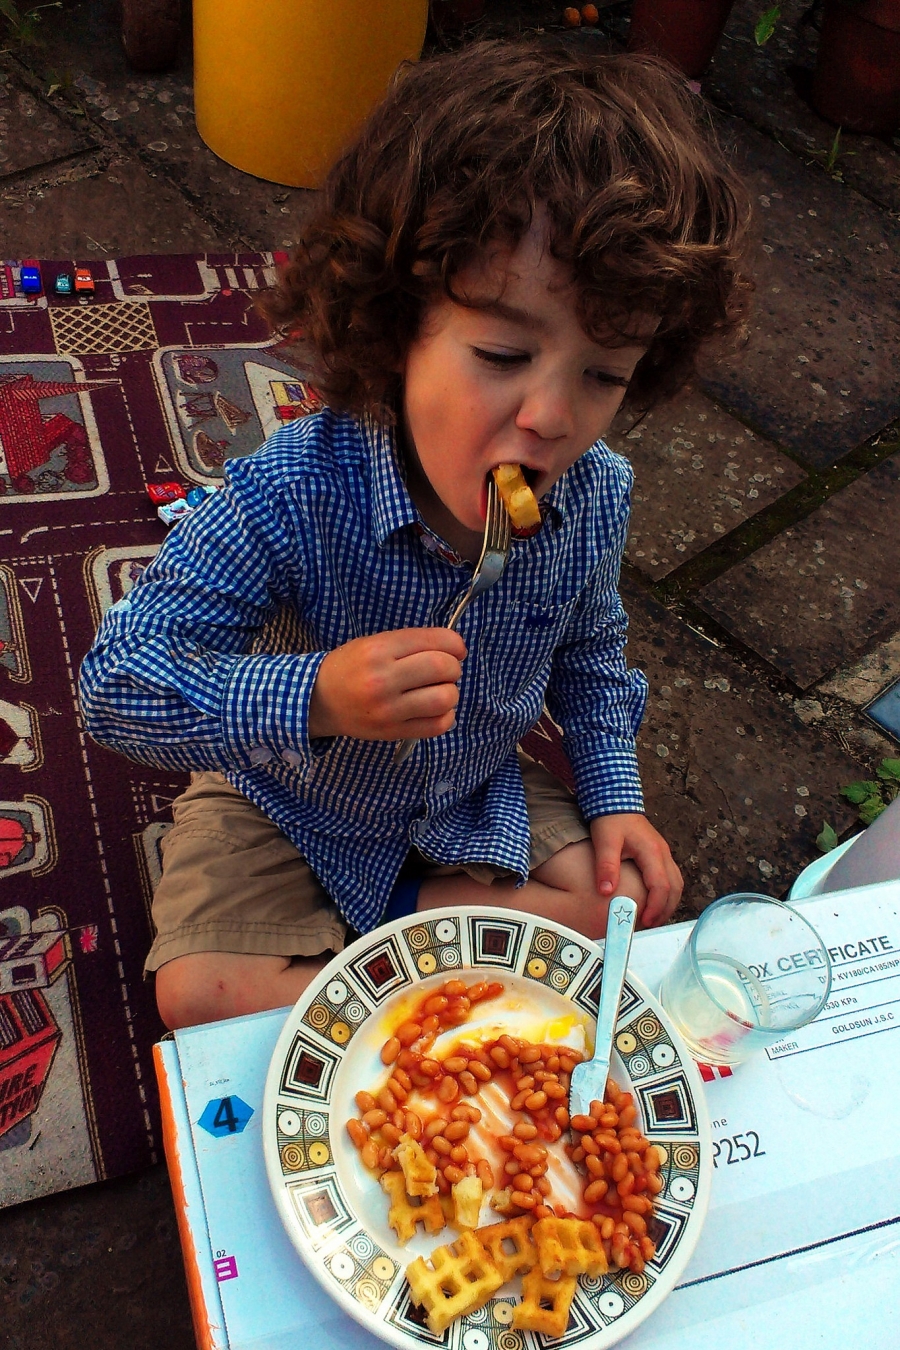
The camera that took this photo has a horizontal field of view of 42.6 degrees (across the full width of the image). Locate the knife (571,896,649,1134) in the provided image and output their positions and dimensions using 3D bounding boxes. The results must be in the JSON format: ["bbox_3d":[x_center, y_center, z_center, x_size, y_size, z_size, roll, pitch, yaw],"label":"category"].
[{"bbox_3d":[0.144,0.284,1.003,0.039,0.012,0.221,27,57,-14],"label":"knife"}]

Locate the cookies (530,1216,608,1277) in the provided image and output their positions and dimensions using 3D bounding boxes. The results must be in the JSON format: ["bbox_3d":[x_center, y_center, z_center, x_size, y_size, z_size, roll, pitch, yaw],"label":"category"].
[{"bbox_3d":[0.092,0.428,0.866,0.055,0.028,0.042,1,55,-11],"label":"cookies"}]

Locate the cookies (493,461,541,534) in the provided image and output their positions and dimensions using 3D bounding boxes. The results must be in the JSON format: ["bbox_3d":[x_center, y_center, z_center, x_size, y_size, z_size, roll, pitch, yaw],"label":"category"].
[{"bbox_3d":[0.058,-0.159,1.043,0.025,0.030,0.083,-17,62,-3],"label":"cookies"}]

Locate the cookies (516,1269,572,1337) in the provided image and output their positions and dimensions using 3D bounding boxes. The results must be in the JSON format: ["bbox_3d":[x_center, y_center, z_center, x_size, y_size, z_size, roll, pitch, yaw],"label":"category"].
[{"bbox_3d":[0.070,0.460,0.846,0.041,0.023,0.043,19,53,3],"label":"cookies"}]

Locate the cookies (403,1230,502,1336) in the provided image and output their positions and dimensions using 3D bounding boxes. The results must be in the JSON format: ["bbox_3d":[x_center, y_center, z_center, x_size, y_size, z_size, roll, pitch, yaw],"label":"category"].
[{"bbox_3d":[0.003,0.445,0.849,0.069,0.041,0.050,-22,62,-25],"label":"cookies"}]

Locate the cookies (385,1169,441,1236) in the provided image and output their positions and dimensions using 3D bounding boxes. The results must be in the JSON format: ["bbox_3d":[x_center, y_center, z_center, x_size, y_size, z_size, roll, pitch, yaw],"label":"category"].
[{"bbox_3d":[-0.028,0.406,0.890,0.043,0.018,0.050,-7,57,-16],"label":"cookies"}]
